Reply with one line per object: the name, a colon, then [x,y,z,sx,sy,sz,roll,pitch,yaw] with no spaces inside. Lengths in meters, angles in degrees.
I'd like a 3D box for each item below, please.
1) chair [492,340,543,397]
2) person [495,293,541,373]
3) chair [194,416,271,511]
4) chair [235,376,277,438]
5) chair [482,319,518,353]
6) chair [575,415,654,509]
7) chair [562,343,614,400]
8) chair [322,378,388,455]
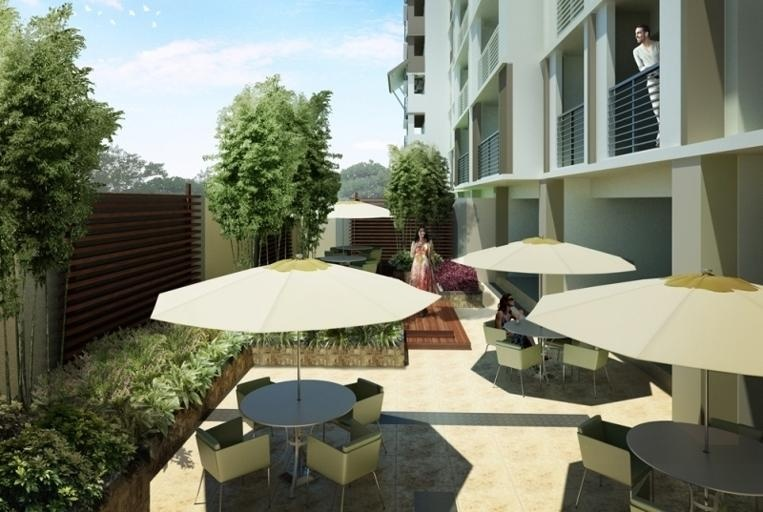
chair: [2.741,2.232,11.105,0.972,1.208,1.081,-2,4,-39]
person: [3.076,1.734,11.476,0.668,1.881,1.119,-5,-8,-45]
chair: [-2.285,2.980,7.832,1.184,1.381,1.016,-4,8,-42]
chair: [-2.177,2.553,8.895,0.763,0.853,0.842,1,2,31]
chair: [2.646,1.888,11.791,0.685,0.917,0.723,-1,4,6]
chair: [3.360,3.004,7.563,1.054,1.314,1.186,0,3,34]
chair: [4.259,2.219,10.950,0.954,1.313,1.157,0,-1,28]
chair: [-0.347,2.469,8.565,1.002,1.343,0.919,1,1,-40]
